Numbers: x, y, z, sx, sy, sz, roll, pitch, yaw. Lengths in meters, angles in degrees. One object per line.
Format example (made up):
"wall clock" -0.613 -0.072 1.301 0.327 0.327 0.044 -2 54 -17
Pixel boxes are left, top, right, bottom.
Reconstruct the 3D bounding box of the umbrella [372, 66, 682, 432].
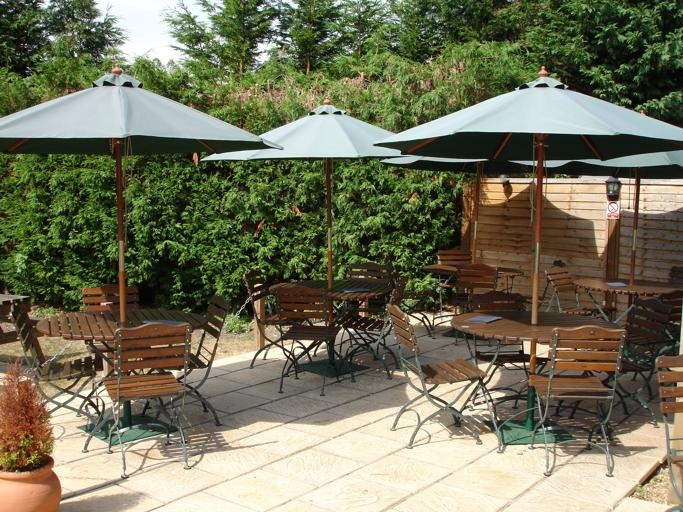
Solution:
"umbrella" 2.342 -0.409 8.116 4.112 2.200 3.419 -1 2 0

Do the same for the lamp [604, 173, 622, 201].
"lamp" 4.411 -1.093 11.185 0.450 0.471 0.427 0 4 13
